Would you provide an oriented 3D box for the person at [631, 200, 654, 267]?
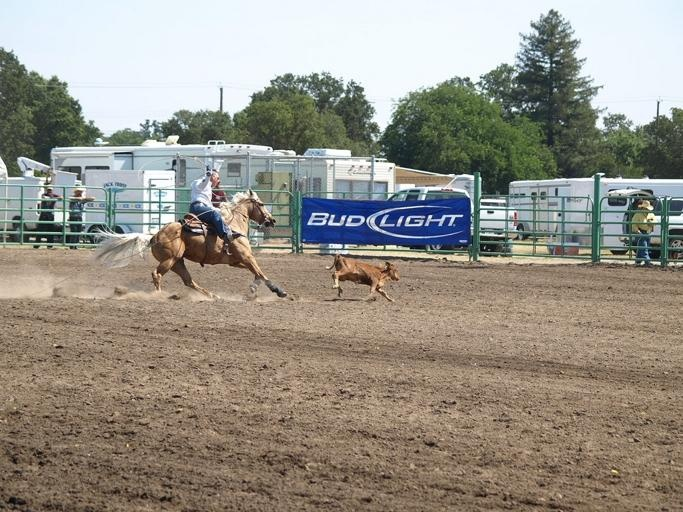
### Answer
[{"bbox_3d":[7.920,-0.603,24.470,0.588,1.762,1.236,1,0,18],"label":"person"}]

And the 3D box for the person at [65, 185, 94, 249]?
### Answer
[{"bbox_3d":[-7.506,-1.060,26.790,0.577,1.458,1.633,1,0,-16],"label":"person"}]

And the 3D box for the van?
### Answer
[{"bbox_3d":[8.371,-0.789,25.954,1.193,2.128,1.232,6,0,33],"label":"van"}]

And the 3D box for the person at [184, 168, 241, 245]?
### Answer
[{"bbox_3d":[-2.397,-0.870,16.948,0.689,1.297,0.547,-12,-13,26],"label":"person"}]

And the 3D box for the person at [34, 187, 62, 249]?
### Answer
[{"bbox_3d":[-8.441,-1.103,26.803,0.679,1.511,3.536,1,0,-17],"label":"person"}]

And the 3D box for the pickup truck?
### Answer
[{"bbox_3d":[3.535,-1.062,27.760,3.806,1.504,2.150,0,-1,3],"label":"pickup truck"}]

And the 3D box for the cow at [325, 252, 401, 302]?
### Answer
[{"bbox_3d":[0.504,0.428,18.186,1.200,0.801,1.617,1,0,4],"label":"cow"}]
